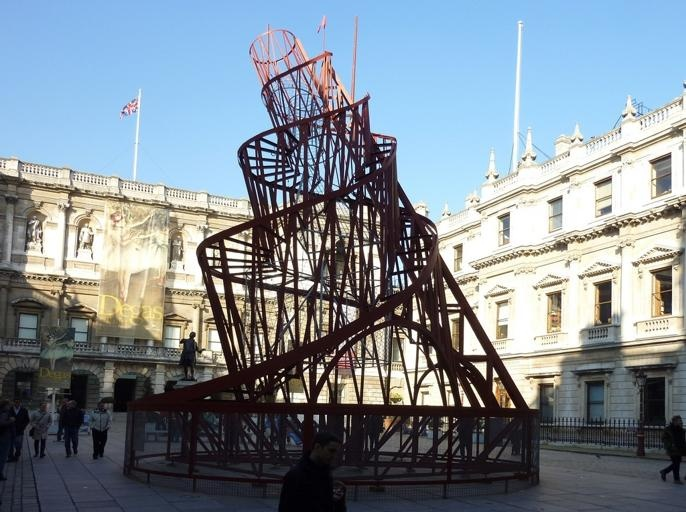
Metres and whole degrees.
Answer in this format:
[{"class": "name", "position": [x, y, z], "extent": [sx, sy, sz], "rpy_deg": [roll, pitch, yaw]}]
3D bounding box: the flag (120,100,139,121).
[{"class": "flag", "position": [-14.799, -10.355, 71.449], "extent": [0.980, 1.529, 2.098], "rpy_deg": [4, -13, -15]}]

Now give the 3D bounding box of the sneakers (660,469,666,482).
[{"class": "sneakers", "position": [11.189, 7.741, 35.844], "extent": [0.168, 0.491, 0.211], "rpy_deg": [-6, 9, 20]}]

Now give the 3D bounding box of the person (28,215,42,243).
[{"class": "person", "position": [-20.462, -1.766, 68.086], "extent": [0.976, 1.802, 0.432], "rpy_deg": [6, -14, -21]}]

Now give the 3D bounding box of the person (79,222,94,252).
[{"class": "person", "position": [-17.505, -1.332, 69.889], "extent": [1.062, 1.924, 0.279], "rpy_deg": [8, -15, -29]}]

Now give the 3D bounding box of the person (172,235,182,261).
[{"class": "person", "position": [-11.853, -0.555, 73.403], "extent": [0.967, 1.759, 0.235], "rpy_deg": [13, -18, -42]}]
